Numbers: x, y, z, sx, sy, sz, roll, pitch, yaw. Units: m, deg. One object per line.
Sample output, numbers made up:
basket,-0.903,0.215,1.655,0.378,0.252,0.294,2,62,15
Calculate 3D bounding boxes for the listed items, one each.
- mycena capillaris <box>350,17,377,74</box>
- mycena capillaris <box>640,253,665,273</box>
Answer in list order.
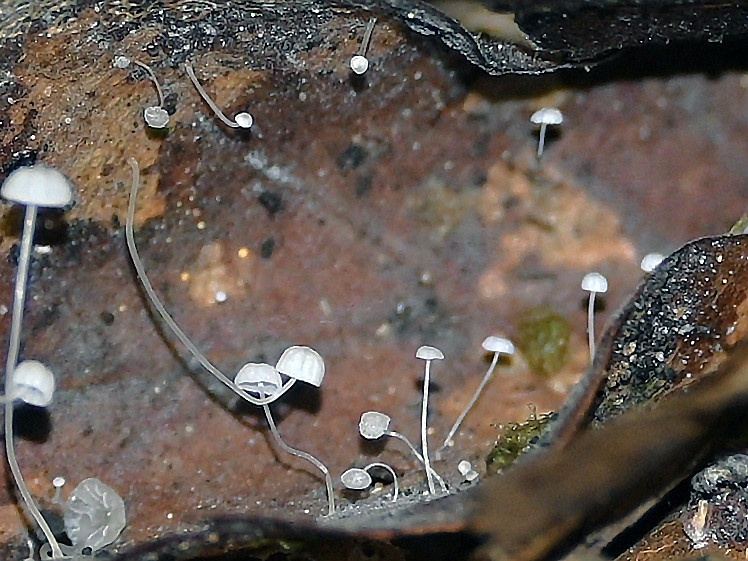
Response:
mycena capillaris,-0.076,-1.817,8.721,0.161,0.067,0.465,18,86,3
mycena capillaris,2.199,-0.144,8.758,0.061,0.150,0.153,53,51,-21
